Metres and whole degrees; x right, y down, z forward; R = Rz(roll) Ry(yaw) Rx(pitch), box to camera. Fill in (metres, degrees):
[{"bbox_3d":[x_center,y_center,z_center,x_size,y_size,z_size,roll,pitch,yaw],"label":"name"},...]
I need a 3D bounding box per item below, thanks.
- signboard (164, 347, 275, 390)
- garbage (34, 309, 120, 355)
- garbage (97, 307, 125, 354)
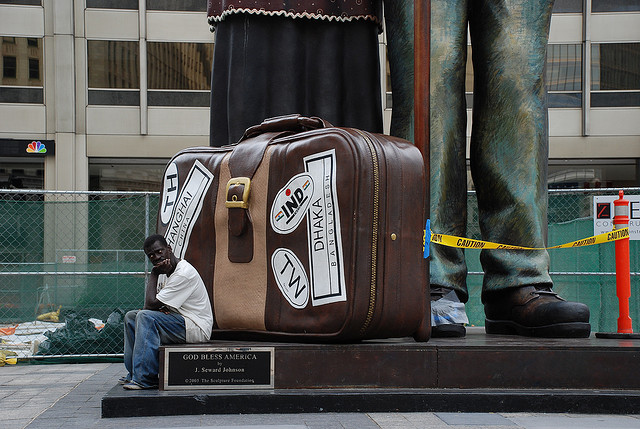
[{"bbox_3d":[-1.093,1.699,11.452,1.197,0.453,0.056,-1,1,2],"label":"signboard"},{"bbox_3d":[-3.491,1.745,15.047,1.131,0.487,0.345,-2,-8,-11],"label":"garbage"},{"bbox_3d":[-2.995,1.707,15.046,0.386,0.644,0.656,8,-12,-38],"label":"garbage"}]
